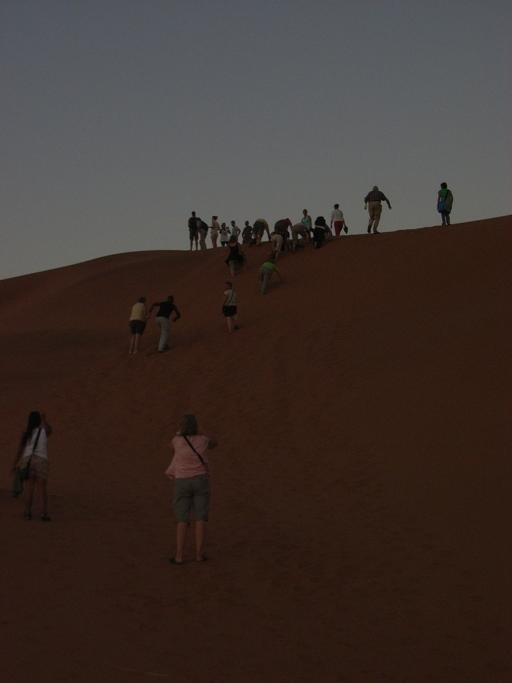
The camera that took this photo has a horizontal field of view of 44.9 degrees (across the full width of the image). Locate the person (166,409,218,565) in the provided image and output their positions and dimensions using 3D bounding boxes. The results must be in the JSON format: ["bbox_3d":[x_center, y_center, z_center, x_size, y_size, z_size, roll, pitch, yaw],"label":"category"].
[{"bbox_3d":[-0.664,1.416,6.225,0.424,1.579,1.739,2,3,-5],"label":"person"}]

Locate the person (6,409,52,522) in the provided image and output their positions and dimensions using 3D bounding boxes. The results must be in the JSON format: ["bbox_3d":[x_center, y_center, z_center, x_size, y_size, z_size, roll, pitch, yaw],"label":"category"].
[{"bbox_3d":[-2.698,1.473,7.431,0.397,1.358,1.539,1,3,-20],"label":"person"}]
